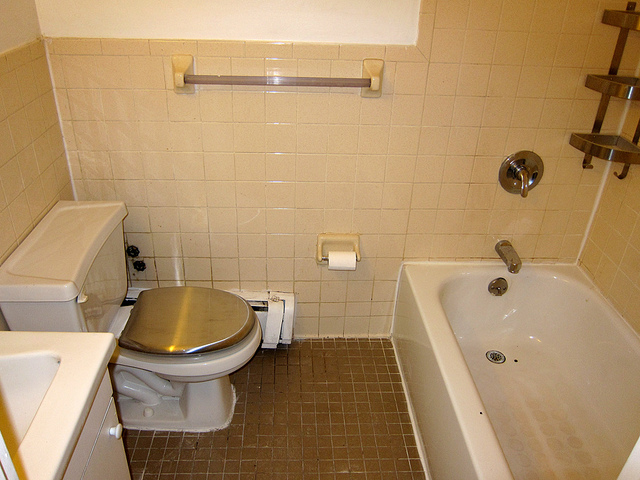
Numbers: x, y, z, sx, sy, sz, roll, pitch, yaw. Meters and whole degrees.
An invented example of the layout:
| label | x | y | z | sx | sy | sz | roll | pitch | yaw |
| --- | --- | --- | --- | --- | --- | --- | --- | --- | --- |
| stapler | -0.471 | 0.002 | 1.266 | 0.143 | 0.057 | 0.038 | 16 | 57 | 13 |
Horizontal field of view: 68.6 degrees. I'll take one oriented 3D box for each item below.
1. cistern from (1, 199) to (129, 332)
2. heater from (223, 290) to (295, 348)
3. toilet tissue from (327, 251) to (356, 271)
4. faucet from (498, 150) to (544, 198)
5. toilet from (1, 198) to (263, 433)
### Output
| label | x | y | z | sx | sy | sz | roll | pitch | yaw |
| --- | --- | --- | --- | --- | --- | --- | --- | --- | --- |
| cistern | -1.022 | 0.175 | 1.948 | 0.297 | 0.452 | 0.594 | 2 | 33 | -1 |
| heater | -0.285 | 0.388 | 2.413 | 0.405 | 0.385 | 0.245 | 1 | 31 | -1 |
| toilet tissue | 0.110 | 0.093 | 2.212 | 0.128 | 0.090 | 0.091 | -2 | 10 | -4 |
| faucet | 0.939 | -0.323 | 2.198 | 0.169 | 0.186 | 0.088 | -5 | 30 | -2 |
| toilet | -0.730 | 0.261 | 2.265 | 1.023 | 0.981 | 0.839 | 3 | 43 | -14 |
